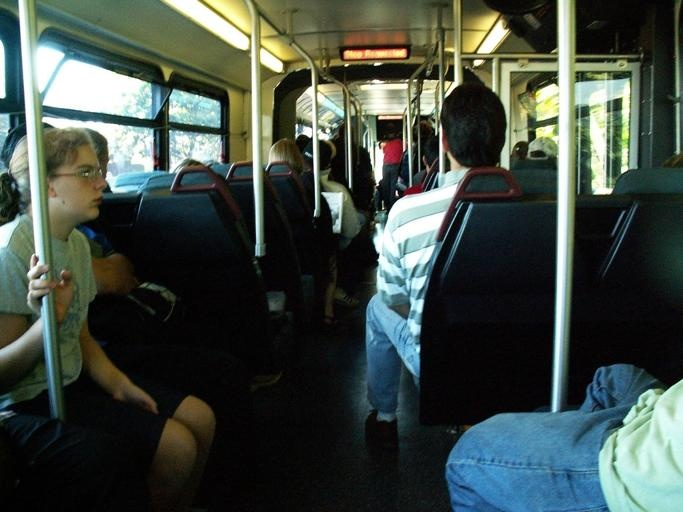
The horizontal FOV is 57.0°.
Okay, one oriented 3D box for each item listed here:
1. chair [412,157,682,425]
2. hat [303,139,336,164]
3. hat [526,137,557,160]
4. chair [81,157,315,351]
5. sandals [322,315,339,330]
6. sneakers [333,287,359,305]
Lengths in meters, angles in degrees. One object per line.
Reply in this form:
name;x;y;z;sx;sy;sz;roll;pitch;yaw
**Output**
chair;0.780;0.142;2.648;1.054;1.118;0.797;0;8;6
hat;-0.225;-1.127;6.627;0.405;0.228;0.265;-15;22;-32
hat;1.681;-0.885;5.210;0.203;0.176;0.557;3;15;8
chair;-0.665;-0.034;3.286;0.823;0.993;0.696;-2;11;11
sandals;-0.078;0.474;4.565;0.119;0.076;0.270;1;15;0
sneakers;0.024;0.345;5.154;0.232;0.099;0.091;24;5;-17
